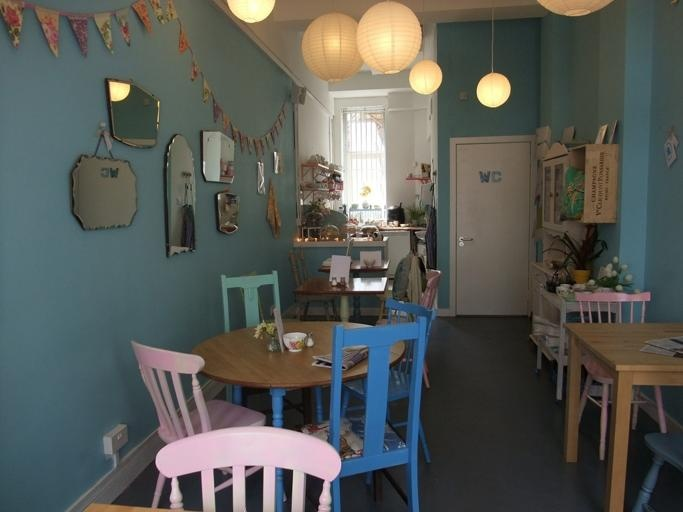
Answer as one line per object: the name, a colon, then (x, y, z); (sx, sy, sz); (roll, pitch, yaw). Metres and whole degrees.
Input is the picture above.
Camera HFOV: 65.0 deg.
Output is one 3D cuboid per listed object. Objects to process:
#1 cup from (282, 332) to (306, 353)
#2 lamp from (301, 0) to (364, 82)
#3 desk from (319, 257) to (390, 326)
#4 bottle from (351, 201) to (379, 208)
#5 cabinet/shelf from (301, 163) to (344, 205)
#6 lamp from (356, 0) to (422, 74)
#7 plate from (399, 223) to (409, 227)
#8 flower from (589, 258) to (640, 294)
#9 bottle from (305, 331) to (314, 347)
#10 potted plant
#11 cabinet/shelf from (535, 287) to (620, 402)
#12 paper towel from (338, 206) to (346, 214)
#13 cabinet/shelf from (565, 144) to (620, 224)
cup: (-0.295, 0.547, 3.401); (0.105, 0.080, 0.115); (0, -4, 0)
lamp: (-0.085, -1.619, 4.119); (0.409, 0.509, 0.417); (25, 40, 38)
desk: (0.130, 0.316, 5.496); (0.656, 0.748, 0.718); (0, 7, 6)
bottle: (0.514, -1.089, 11.588); (0.667, 0.162, 0.295); (-6, 14, -22)
cabinet/shelf: (-0.325, -1.128, 8.325); (0.422, 0.716, 1.607); (0, 13, 6)
lamp: (0.329, -1.563, 3.891); (0.426, 0.568, 0.469); (-2, 24, 2)
plate: (1.209, -0.594, 10.524); (0.149, 0.068, 0.100); (5, -5, -39)
flower: (2.196, 0.176, 4.307); (0.274, 0.439, 0.284); (-1, 3, -6)
bottle: (-0.205, 0.544, 3.452); (0.044, 0.071, 0.063); (1, 1, -30)
potted plant: (2.198, -0.039, 5.007); (0.451, 0.433, 0.487); (2, 5, 26)
cabinet/shelf: (1.790, 0.680, 4.058); (0.282, 0.805, 0.848); (2, 3, 16)
paper towel: (-0.002, -0.931, 10.873); (0.124, 0.191, 0.308); (-1, 13, -1)
cabinet/shelf: (2.113, -0.587, 4.505); (0.203, 0.631, 0.631); (0, 5, 16)
